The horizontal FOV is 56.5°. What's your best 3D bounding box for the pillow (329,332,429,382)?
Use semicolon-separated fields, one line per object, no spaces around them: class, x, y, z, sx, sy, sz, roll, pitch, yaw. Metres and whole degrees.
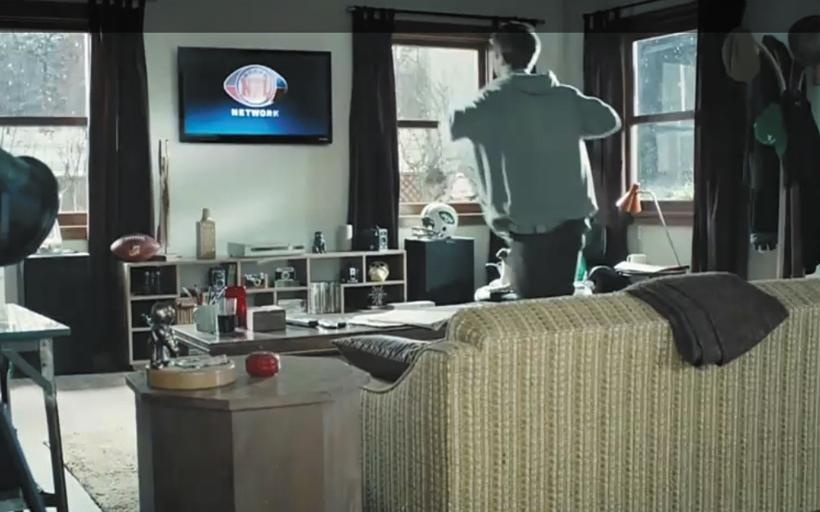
pillow;-0.120;0.417;3.248;0.249;0.103;0.241;2;0;-45

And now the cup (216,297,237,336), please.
cup;-1.029;0.337;4.299;0.100;0.202;0.155;-2;2;-12

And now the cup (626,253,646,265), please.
cup;1.866;0.029;6.221;0.190;0.131;0.120;-1;0;3

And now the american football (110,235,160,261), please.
american football;-2.181;-0.055;6.039;0.312;0.172;0.219;0;0;-6

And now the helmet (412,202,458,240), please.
helmet;0.206;-0.310;6.805;0.389;0.280;0.279;0;1;-9

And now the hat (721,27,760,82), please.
hat;2.515;-1.516;5.812;0.092;0.367;0.285;1;-9;-39

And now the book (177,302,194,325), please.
book;-1.786;0.457;6.059;0.137;0.178;0.182;0;0;-13

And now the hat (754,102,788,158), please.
hat;2.657;-0.920;5.622;0.110;0.396;0.235;-3;2;-25

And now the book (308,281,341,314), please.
book;-0.749;0.369;6.632;0.277;0.261;0.256;0;1;-16

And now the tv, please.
tv;-1.390;-1.378;6.531;0.959;0.536;0.068;0;0;-17
